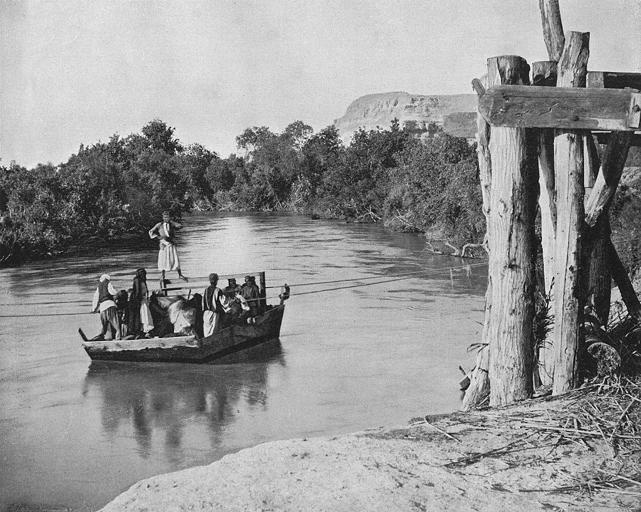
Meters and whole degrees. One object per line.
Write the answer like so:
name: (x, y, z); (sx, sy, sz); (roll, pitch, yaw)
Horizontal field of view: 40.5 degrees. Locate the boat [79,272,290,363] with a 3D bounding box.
boat: (-2.778, 1.752, 19.143); (4.508, 1.464, 1.996); (-1, 0, -41)
